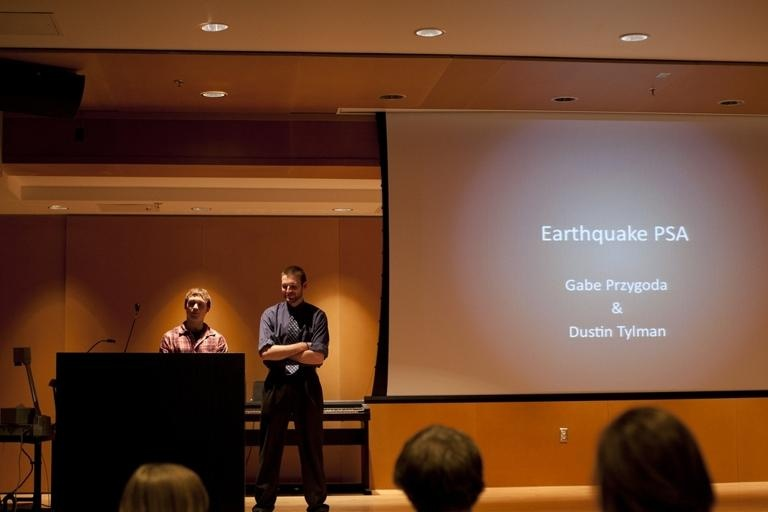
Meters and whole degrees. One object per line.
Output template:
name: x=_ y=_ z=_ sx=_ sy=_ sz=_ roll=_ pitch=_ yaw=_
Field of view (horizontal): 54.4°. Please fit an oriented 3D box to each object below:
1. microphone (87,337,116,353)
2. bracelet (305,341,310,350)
microphone: x=-3.076 y=0.962 z=8.087 sx=0.286 sy=0.088 sz=0.285 roll=-7 pitch=-32 yaw=-22
bracelet: x=-0.684 y=0.791 z=6.607 sx=0.045 sy=0.072 sz=0.105 roll=1 pitch=-10 yaw=-9
